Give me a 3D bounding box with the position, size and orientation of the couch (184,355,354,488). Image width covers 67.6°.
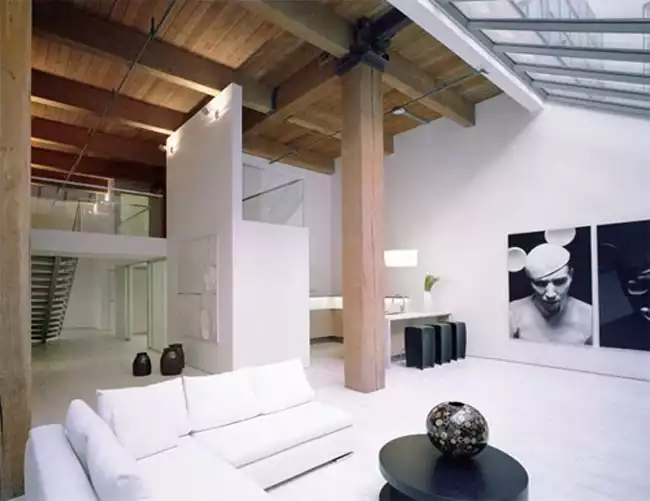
[{"bbox_3d":[-0.590,1.796,5.187,1.633,1.061,1.164,-3,-1,-45],"label":"couch"}]

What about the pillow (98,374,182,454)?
[{"bbox_3d":[-1.714,1.538,4.524,0.347,0.672,0.773,-16,-9,36],"label":"pillow"}]

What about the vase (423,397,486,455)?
[{"bbox_3d":[1.233,1.668,4.612,0.551,0.495,0.632,0,-3,-26],"label":"vase"}]

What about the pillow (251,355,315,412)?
[{"bbox_3d":[-0.482,1.452,5.414,0.618,0.490,0.182,-8,-21,-35],"label":"pillow"}]

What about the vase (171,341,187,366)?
[{"bbox_3d":[-2.564,1.801,8.500,0.294,0.459,0.265,-7,-13,22],"label":"vase"}]

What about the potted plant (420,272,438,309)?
[{"bbox_3d":[2.114,0.786,9.703,0.331,0.758,0.596,-5,-5,15],"label":"potted plant"}]

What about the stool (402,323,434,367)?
[{"bbox_3d":[1.678,1.578,8.746,0.550,0.930,0.569,2,24,17],"label":"stool"}]

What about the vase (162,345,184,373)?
[{"bbox_3d":[-2.548,1.892,8.488,0.316,0.472,0.426,-2,-12,7],"label":"vase"}]

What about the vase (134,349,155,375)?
[{"bbox_3d":[-3.125,1.917,8.411,0.291,0.374,0.389,-2,-5,-19],"label":"vase"}]

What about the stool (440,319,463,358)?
[{"bbox_3d":[2.424,1.631,9.242,0.465,0.676,0.471,1,5,30],"label":"stool"}]
